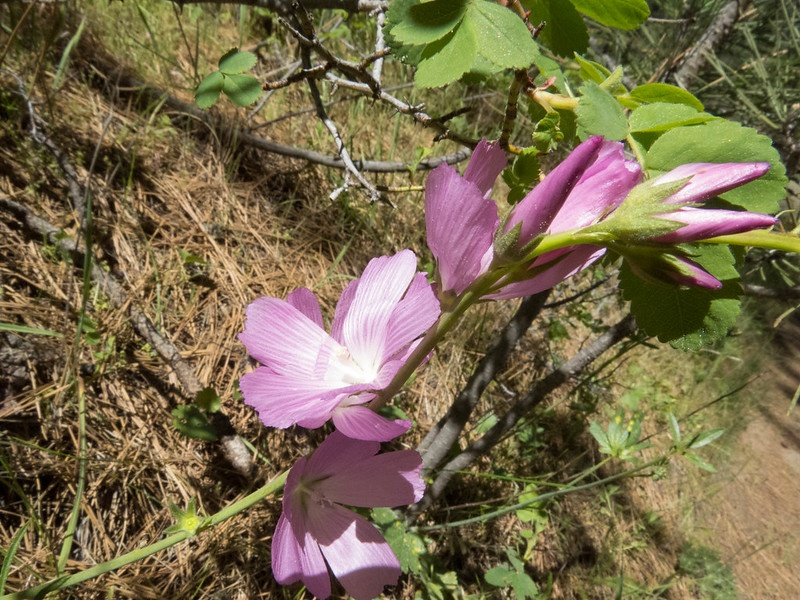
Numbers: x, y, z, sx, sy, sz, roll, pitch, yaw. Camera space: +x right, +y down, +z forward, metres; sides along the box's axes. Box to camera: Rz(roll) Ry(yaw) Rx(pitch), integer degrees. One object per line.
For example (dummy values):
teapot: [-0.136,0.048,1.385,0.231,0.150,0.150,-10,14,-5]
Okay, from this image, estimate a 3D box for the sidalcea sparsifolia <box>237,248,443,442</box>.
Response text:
sidalcea sparsifolia: [-0.091,0.255,2.332,0.271,0.637,0.624,54,16,-44]
